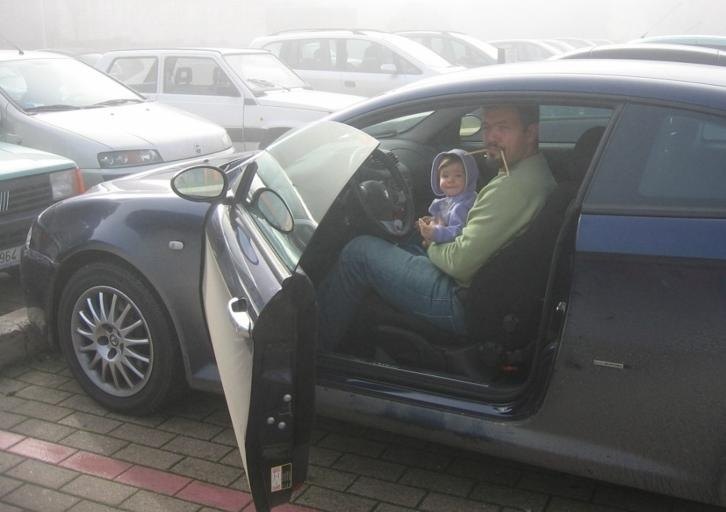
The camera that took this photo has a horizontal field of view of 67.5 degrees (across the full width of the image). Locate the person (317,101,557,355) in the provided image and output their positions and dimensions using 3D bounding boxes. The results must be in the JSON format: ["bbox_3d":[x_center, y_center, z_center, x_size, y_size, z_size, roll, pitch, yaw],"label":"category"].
[{"bbox_3d":[0.334,-0.112,3.071,1.060,1.795,0.768,15,20,-1],"label":"person"}]

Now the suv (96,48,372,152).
[{"bbox_3d":[-2.102,-2.734,8.920,3.637,1.765,2.185,5,23,17],"label":"suv"}]
